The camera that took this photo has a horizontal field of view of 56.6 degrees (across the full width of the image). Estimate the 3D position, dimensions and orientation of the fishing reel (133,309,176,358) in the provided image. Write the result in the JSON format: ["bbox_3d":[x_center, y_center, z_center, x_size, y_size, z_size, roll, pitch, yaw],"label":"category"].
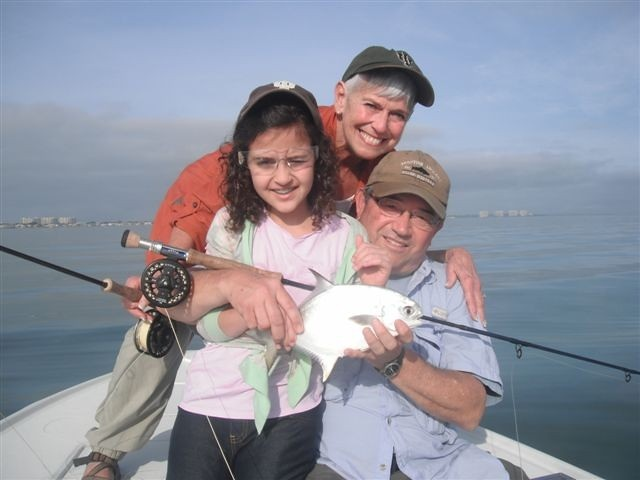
[{"bbox_3d":[-1.400,0.780,5.026,0.148,0.379,0.362,7,34,39],"label":"fishing reel"}]

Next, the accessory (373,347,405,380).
[{"bbox_3d":[0.538,0.956,4.769,0.150,0.266,0.241,-22,42,-4],"label":"accessory"}]

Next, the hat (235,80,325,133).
[{"bbox_3d":[-0.323,-1.098,4.830,0.519,0.234,0.533,4,-6,-39],"label":"hat"}]

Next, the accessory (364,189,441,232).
[{"bbox_3d":[0.789,-0.240,5.133,0.361,0.112,0.388,30,-10,-9],"label":"accessory"}]
